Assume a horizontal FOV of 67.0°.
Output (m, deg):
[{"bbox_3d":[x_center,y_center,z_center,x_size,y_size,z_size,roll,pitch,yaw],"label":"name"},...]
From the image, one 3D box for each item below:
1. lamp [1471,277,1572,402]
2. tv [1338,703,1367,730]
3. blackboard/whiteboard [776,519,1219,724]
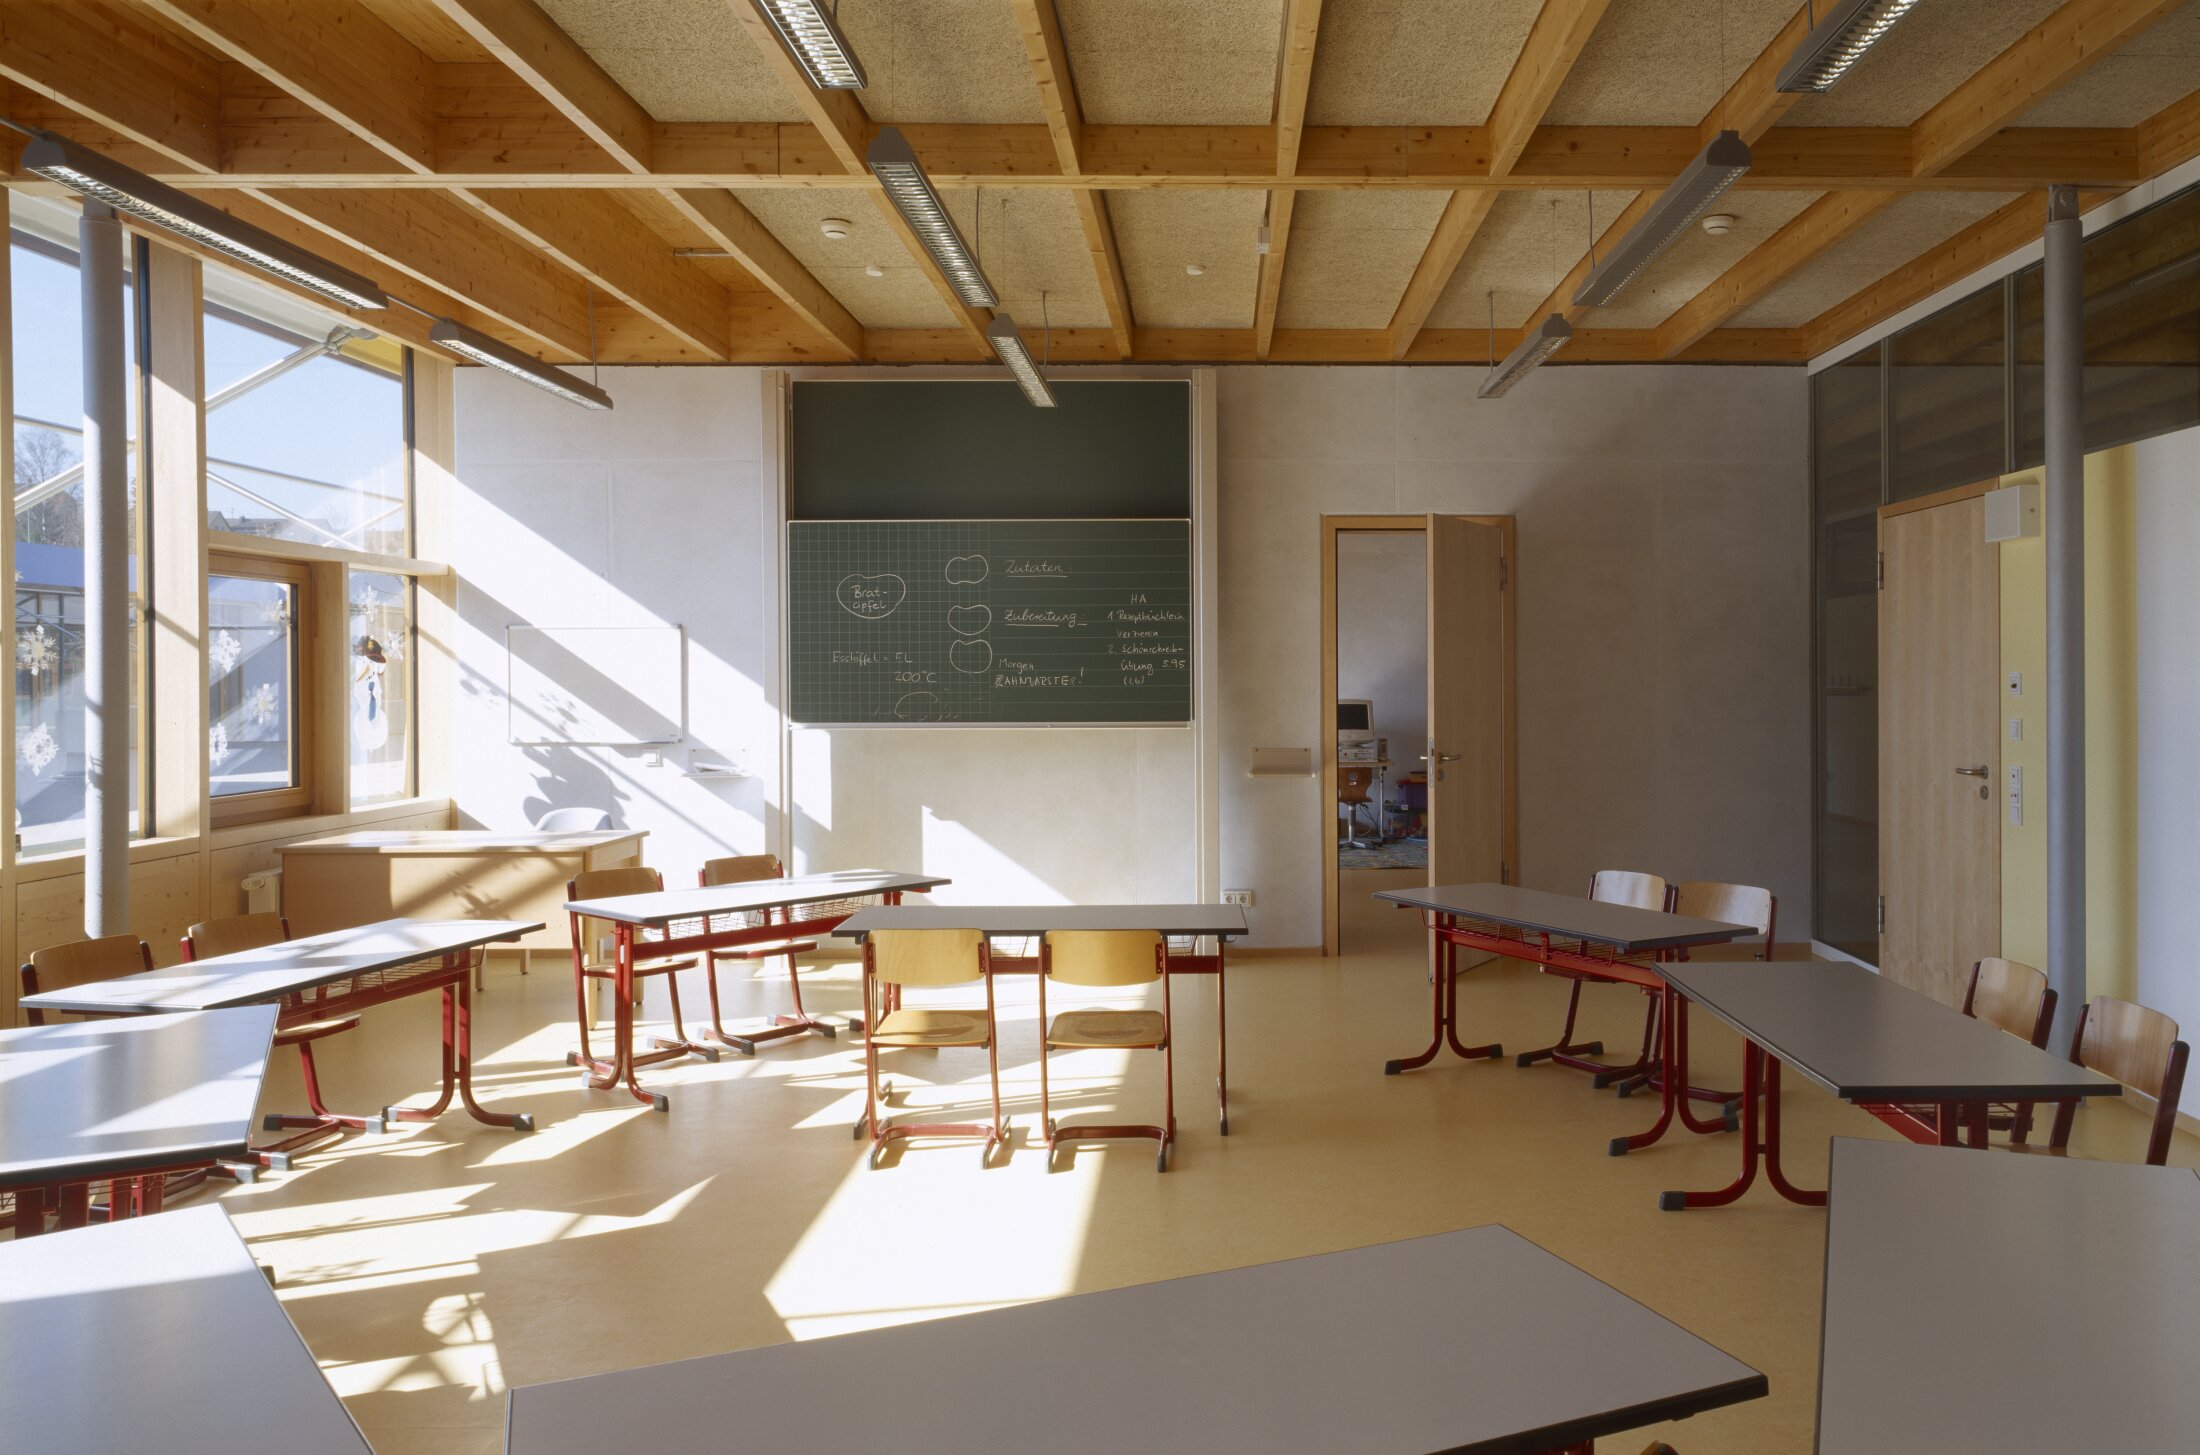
[{"bbox_3d":[2.481,-2.134,9.325,0.302,0.255,1.114,32,-8,-4],"label":"lamp"},{"bbox_3d":[2.173,-0.109,14.157,0.235,0.204,0.235,-2,-3,4],"label":"tv"},{"bbox_3d":[-0.734,-0.697,10.669,2.628,1.327,0.102,0,3,9],"label":"blackboard/whiteboard"}]
